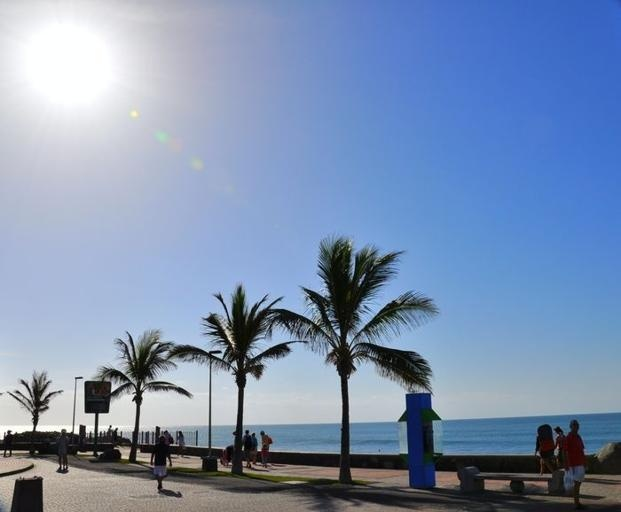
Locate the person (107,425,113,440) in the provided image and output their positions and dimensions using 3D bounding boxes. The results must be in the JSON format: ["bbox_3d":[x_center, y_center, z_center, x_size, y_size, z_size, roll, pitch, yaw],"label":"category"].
[{"bbox_3d":[-18.211,16.065,51.554,0.447,1.229,2.203,5,-18,-20],"label":"person"}]

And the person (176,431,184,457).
[{"bbox_3d":[-8.973,12.916,39.229,0.601,1.585,2.339,3,-17,-12],"label":"person"}]

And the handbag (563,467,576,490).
[{"bbox_3d":[6.301,5.431,13.790,0.226,0.529,0.294,13,-20,-40],"label":"handbag"}]
